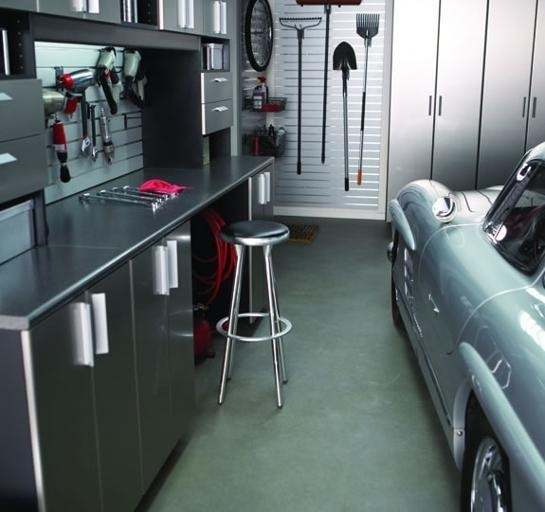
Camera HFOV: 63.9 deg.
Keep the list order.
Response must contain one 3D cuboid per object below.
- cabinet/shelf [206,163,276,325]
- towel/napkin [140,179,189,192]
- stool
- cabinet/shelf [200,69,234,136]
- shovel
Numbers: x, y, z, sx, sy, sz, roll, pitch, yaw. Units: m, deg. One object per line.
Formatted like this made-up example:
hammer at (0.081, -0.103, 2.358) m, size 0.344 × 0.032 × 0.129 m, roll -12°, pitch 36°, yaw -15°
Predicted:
cabinet/shelf at (-0.225, -0.057, 2.828) m, size 0.270 × 0.842 × 0.881 m, roll -1°, pitch 18°, yaw 3°
towel/napkin at (-0.606, -0.390, 2.433) m, size 0.157 × 0.046 × 0.110 m, roll 7°, pitch 17°, yaw 10°
stool at (-0.126, 0.253, 2.564) m, size 0.475 × 0.952 × 0.877 m, roll 1°, pitch 19°, yaw 3°
cabinet/shelf at (-0.410, -1.139, 3.192) m, size 0.271 × 0.407 × 0.518 m, roll 2°, pitch 18°, yaw 10°
shovel at (0.920, -1.825, 5.425) m, size 0.267 × 1.957 × 0.179 m, roll -6°, pitch -18°, yaw 25°
